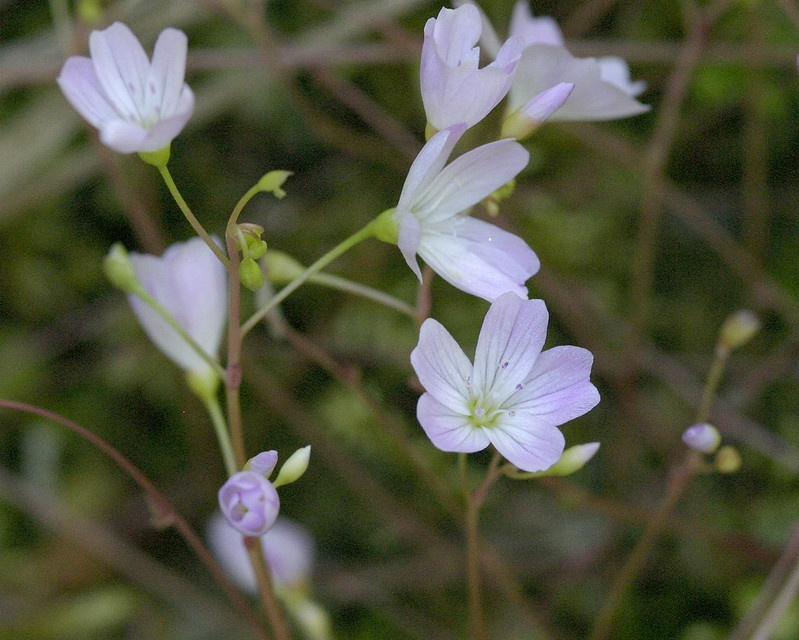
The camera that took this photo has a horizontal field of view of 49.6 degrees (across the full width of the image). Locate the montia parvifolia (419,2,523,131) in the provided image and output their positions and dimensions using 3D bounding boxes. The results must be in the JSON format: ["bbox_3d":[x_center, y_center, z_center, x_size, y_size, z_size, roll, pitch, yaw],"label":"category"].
[{"bbox_3d":[0.147,-0.531,1.787,0.229,0.267,0.135,-17,0,2],"label":"montia parvifolia"}]
